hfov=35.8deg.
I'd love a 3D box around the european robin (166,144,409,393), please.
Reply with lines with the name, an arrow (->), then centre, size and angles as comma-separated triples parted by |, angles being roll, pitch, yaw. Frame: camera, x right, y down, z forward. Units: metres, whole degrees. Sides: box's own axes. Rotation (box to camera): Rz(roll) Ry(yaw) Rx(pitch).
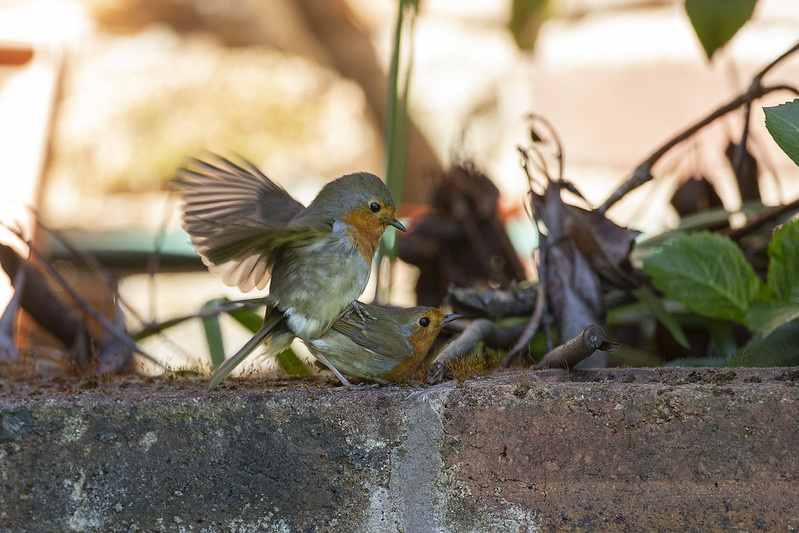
european robin -> -0.415, 0.032, 4.668 | 0.836, 0.923, 1.017 | -7, 1, 11

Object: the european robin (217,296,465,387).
european robin -> -0.201, 0.237, 4.817 | 0.927, 0.315, 0.399 | 15, 85, -5
